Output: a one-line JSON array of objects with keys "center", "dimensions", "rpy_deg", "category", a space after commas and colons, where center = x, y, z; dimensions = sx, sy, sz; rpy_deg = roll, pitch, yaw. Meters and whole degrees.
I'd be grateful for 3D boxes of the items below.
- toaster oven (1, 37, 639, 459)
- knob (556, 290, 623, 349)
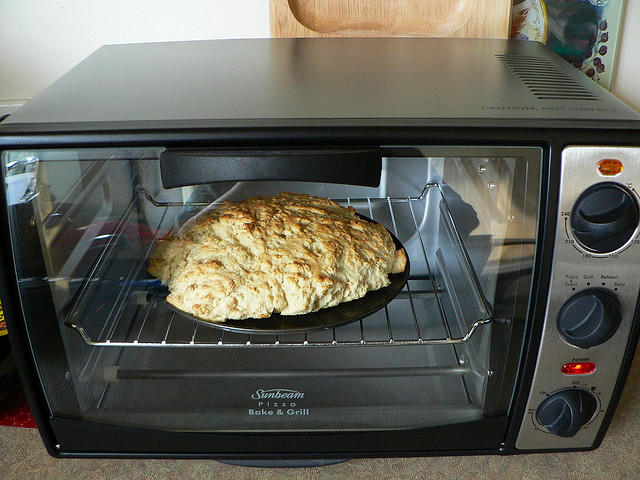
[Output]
[{"center": [-0.010, -0.048, 1.110], "dimensions": [0.913, 0.677, 0.819], "rpy_deg": [-2, 27, -2], "category": "toaster oven"}, {"center": [0.375, 0.110, 0.676], "dimensions": [0.090, 0.083, 0.029], "rpy_deg": [-11, 36, -7], "category": "knob"}]
